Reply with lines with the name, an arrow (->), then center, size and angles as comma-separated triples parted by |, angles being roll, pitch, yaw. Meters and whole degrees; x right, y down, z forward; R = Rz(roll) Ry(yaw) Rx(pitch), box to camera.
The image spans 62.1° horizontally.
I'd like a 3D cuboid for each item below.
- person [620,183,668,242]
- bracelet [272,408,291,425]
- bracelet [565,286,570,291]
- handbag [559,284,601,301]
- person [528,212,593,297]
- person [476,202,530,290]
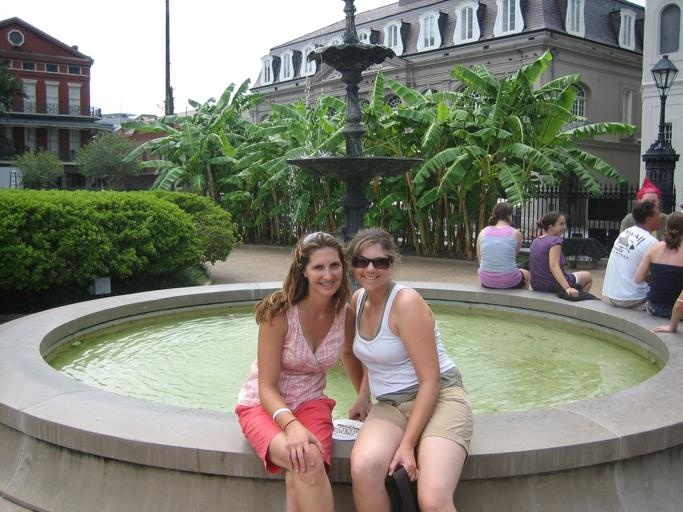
person -> 5.271, -0.780, 9.685 | 1.004, 1.089, 0.422 | -2, 14, 14
bracelet -> -0.341, 0.907, 3.235 | 0.075, 0.019, 0.080 | -45, -18, -4
bracelet -> 3.000, 0.429, 7.533 | 0.012, 0.057, 0.055 | -4, 10, -5
handbag -> 3.126, 0.491, 7.484 | 0.347, 0.132, 0.211 | -2, -8, 3
person -> 3.001, -0.038, 7.806 | 0.781, 1.128, 0.857 | 3, 7, 23
person -> 2.435, -0.139, 8.498 | 0.729, 1.320, 0.815 | 1, 1, 26
